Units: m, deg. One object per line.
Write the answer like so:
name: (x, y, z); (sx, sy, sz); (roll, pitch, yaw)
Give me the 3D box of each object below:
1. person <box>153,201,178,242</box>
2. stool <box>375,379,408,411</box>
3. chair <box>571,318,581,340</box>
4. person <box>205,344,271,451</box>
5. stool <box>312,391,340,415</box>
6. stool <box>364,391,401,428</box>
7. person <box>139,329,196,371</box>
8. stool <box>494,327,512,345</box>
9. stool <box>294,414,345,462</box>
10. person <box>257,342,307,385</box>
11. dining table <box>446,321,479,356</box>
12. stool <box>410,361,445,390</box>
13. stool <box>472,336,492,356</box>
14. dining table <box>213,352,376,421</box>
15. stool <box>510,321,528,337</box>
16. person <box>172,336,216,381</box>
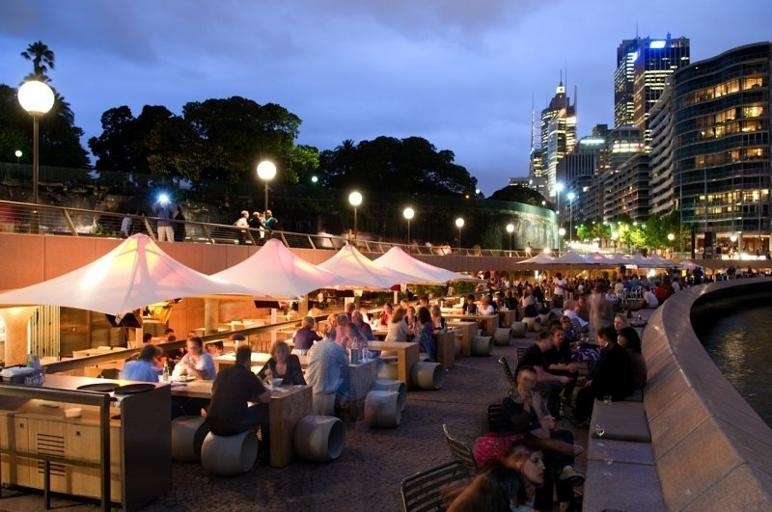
person: (-7.158, -1.140, 22.824); (0.612, 2.139, 0.468); (-7, 40, -22)
stool: (0.124, 2.998, 15.890); (0.736, 0.740, 0.596); (1, -6, 18)
chair: (5.463, 2.086, 20.504); (0.280, 0.549, 0.408); (-2, 19, 10)
person: (-2.787, 2.712, 13.306); (1.209, 2.073, 0.428); (-5, 6, -17)
stool: (-1.363, 3.108, 15.151); (0.467, 0.484, 0.478); (0, -4, -4)
stool: (-0.130, 3.233, 15.109); (0.682, 0.730, 0.731); (0, -6, 1)
person: (-5.042, 2.131, 16.220); (1.011, 0.341, 1.051); (-1, 7, -43)
stool: (3.927, 2.659, 23.941); (0.576, 0.555, 0.479); (-1, 12, 21)
stool: (-1.287, 3.455, 13.936); (0.916, 0.837, 0.801); (-1, 6, 17)
person: (-2.244, 2.297, 14.690); (1.066, 1.101, 0.723); (-6, 11, -6)
dining table: (2.352, 2.539, 22.012); (0.902, 0.986, 0.928); (-1, -5, 13)
stool: (0.986, 2.947, 17.610); (0.742, 0.686, 0.641); (1, -19, 10)
stool: (2.959, 2.700, 22.123); (0.620, 0.596, 0.517); (-1, 2, 10)
dining table: (-1.807, 2.657, 14.380); (1.602, 1.314, 1.110); (0, 1, 20)
stool: (4.860, 2.675, 25.935); (0.577, 0.534, 0.500); (-7, 12, 28)
person: (-4.090, 2.185, 14.872); (0.707, 1.010, 0.942); (-3, -2, -9)
